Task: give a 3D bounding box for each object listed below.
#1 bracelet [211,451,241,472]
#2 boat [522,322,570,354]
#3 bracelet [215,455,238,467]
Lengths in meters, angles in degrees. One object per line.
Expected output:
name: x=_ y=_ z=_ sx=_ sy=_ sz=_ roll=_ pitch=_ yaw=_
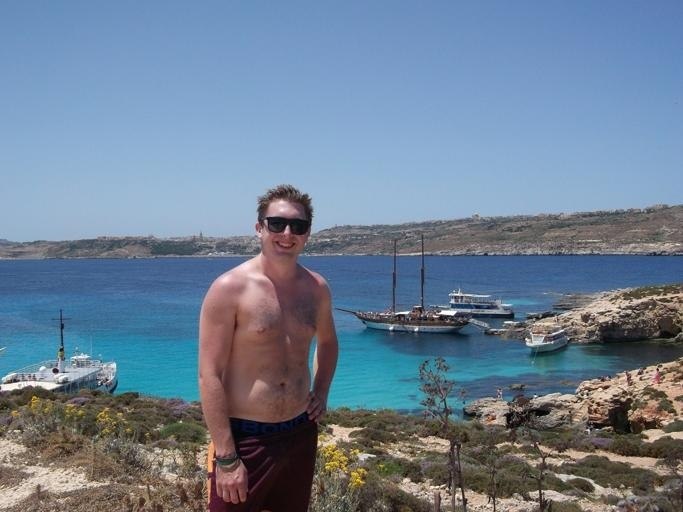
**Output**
bracelet: x=-1.986 y=3.564 z=10.507 sx=0.403 sy=0.163 sz=0.305 roll=1 pitch=0 yaw=11
boat: x=19.911 y=7.839 z=58.552 sx=2.244 sy=2.021 sz=5.745 roll=2 pitch=5 yaw=35
bracelet: x=-1.999 y=3.556 z=10.518 sx=0.312 sy=0.128 sz=0.231 roll=0 pitch=-1 yaw=24
